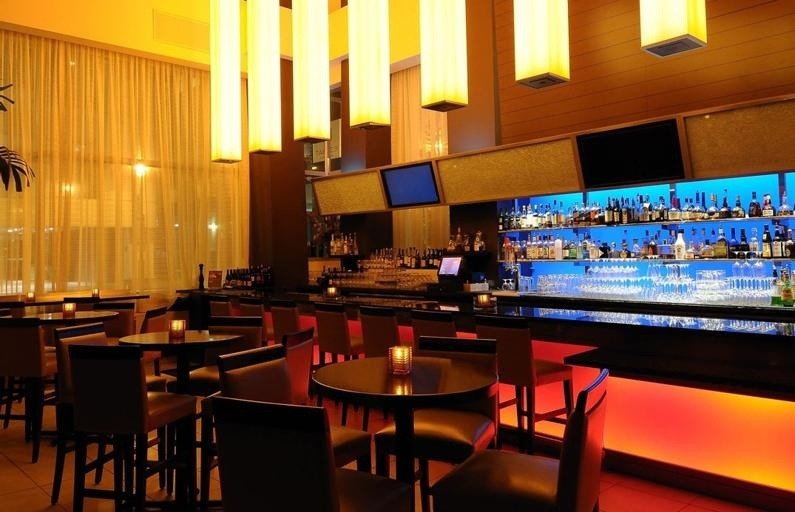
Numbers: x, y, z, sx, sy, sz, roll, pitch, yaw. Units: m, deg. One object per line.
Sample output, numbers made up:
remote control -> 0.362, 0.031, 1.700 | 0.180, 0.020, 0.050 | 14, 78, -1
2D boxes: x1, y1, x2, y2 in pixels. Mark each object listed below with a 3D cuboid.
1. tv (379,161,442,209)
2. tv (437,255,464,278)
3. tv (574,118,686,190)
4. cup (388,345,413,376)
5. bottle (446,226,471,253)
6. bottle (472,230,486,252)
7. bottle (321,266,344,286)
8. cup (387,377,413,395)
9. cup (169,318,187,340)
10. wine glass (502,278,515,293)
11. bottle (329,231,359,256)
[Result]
tv -> 0.183, -0.988, 8.890 | 1.013, 0.583, 0.187 | -4, 2, 44
tv -> 0.736, 0.143, 8.694 | 0.310, 0.260, 0.114 | 0, -22, 42
tv -> 2.585, -1.132, 7.047 | 0.885, 0.583, 0.087 | -3, 19, 38
cup -> 0.033, 0.753, 4.648 | 0.197, 0.253, 0.191 | 1, 0, 0
bottle -> 0.858, -0.227, 8.759 | 0.365, 0.307, 0.198 | -5, 1, 33
bottle -> 1.101, -0.205, 8.602 | 0.153, 0.250, 0.172 | -5, 1, 18
bottle -> -1.033, 0.323, 10.102 | 0.352, 0.315, 0.340 | 0, -7, -1
cup -> 0.025, 0.906, 4.417 | 0.093, 0.087, 0.164 | 2, -5, -8
cup -> -1.964, 0.657, 5.728 | 0.163, 0.177, 0.164 | 1, 1, 0
wine glass -> 1.469, 0.389, 8.509 | 0.162, 0.144, 0.149 | 3, -2, -33
bottle -> -0.878, -0.210, 10.625 | 0.436, 0.381, 0.148 | -1, -11, 13
